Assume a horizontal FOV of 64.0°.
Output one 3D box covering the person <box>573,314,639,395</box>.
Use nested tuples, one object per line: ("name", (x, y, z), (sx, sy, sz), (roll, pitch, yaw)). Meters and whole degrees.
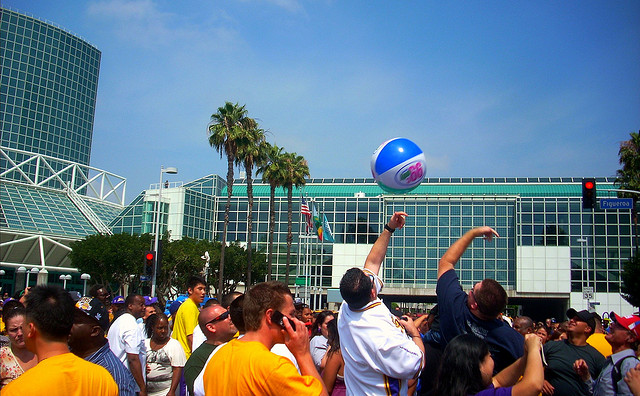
("person", (4.694, 2.564, 8.279), (0.991, 1.319, 2.953), (-5, -12, 25))

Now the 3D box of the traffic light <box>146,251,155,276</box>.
("traffic light", (-8.159, 3.112, 24.512), (0.420, 1.060, 0.629), (5, -12, -19))

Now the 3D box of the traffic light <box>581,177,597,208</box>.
("traffic light", (11.815, -0.258, 22.397), (0.515, 1.334, 0.502), (-3, -12, 20))

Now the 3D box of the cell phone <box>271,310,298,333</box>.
("cell phone", (-0.396, 1.395, 5.866), (0.318, 0.154, 0.077), (35, 22, 24))
